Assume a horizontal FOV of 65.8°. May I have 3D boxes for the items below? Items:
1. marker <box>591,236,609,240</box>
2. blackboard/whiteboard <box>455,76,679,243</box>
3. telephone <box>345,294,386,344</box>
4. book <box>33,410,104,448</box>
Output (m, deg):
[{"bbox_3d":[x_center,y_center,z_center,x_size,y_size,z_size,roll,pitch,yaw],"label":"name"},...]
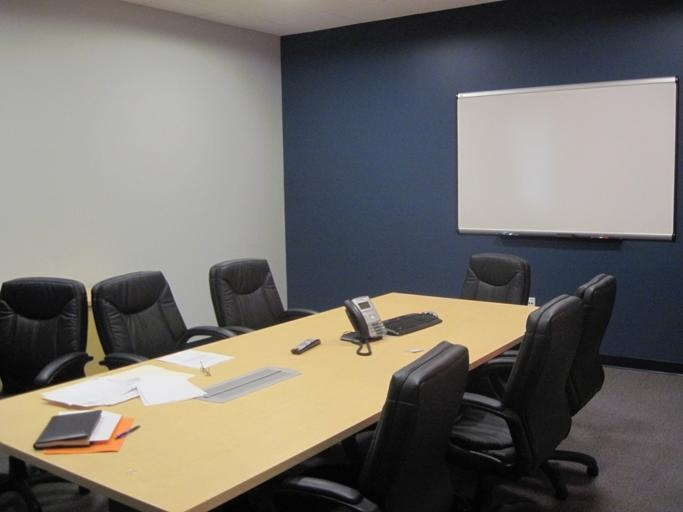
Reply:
[{"bbox_3d":[2.418,-0.160,4.890,0.145,0.050,0.036,5,12,29],"label":"marker"},{"bbox_3d":[2.195,-0.920,4.942,1.640,1.159,0.107,2,4,22],"label":"blackboard/whiteboard"},{"bbox_3d":[0.115,0.372,3.094,0.198,0.268,0.099,-15,-11,-40],"label":"telephone"},{"bbox_3d":[-1.047,0.664,2.028,0.200,0.053,0.204,-2,10,-7],"label":"book"}]
